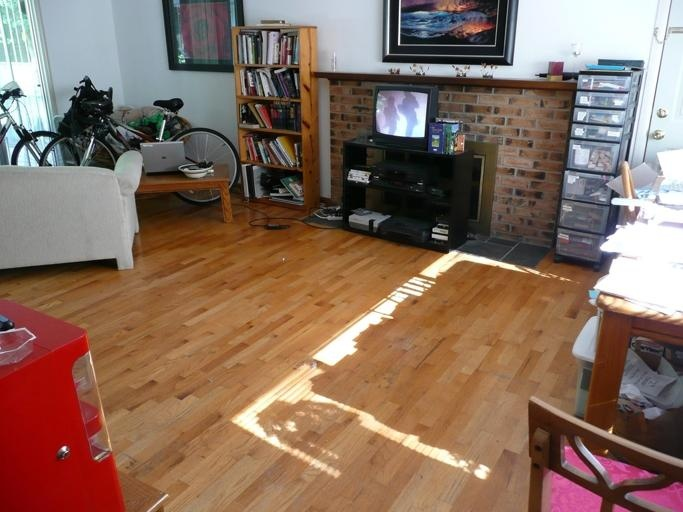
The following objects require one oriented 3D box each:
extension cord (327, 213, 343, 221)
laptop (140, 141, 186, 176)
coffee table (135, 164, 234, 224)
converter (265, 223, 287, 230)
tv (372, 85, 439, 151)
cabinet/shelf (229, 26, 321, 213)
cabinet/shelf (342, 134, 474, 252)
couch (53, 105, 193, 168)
[{"bbox_3d":[-0.061,-0.380,4.678,0.151,0.041,0.091,4,24,13],"label":"extension cord"},{"bbox_3d":[-1.650,-0.879,4.560,0.433,0.306,0.291,-2,27,-12],"label":"laptop"},{"bbox_3d":[-1.388,-0.515,4.459,0.781,0.485,0.493,-9,25,-16],"label":"coffee table"},{"bbox_3d":[-0.587,-0.283,4.507,0.161,0.033,0.084,0,13,-8],"label":"converter"},{"bbox_3d":[0.544,-1.142,3.998,0.512,0.407,0.279,17,29,32],"label":"tv"},{"bbox_3d":[-0.646,-1.398,4.933,0.938,1.712,0.487,11,28,25],"label":"cabinet/shelf"},{"bbox_3d":[0.589,-0.535,4.146,0.976,0.644,0.329,18,33,34],"label":"cabinet/shelf"},{"bbox_3d":[-2.404,-1.313,5.297,1.443,0.637,0.792,-5,-17,-6],"label":"couch"}]
